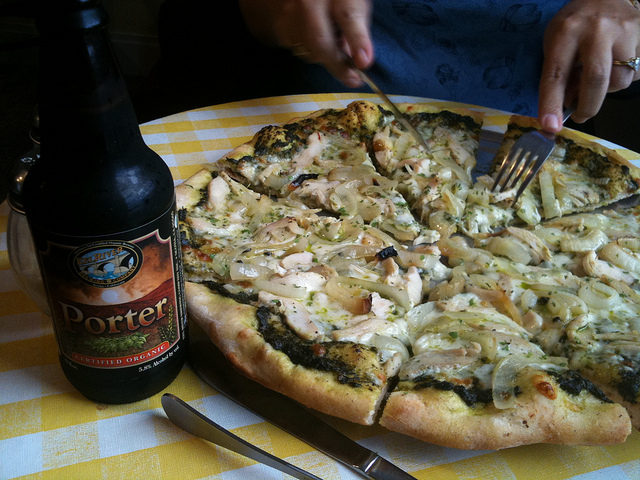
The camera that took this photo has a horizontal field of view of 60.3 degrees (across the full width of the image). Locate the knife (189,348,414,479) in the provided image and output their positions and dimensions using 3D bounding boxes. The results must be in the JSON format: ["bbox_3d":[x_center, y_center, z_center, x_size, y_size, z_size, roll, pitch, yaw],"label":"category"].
[{"bbox_3d":[-0.055,0.463,1.427,0.783,0.031,0.074,19,62,21],"label":"knife"}]
